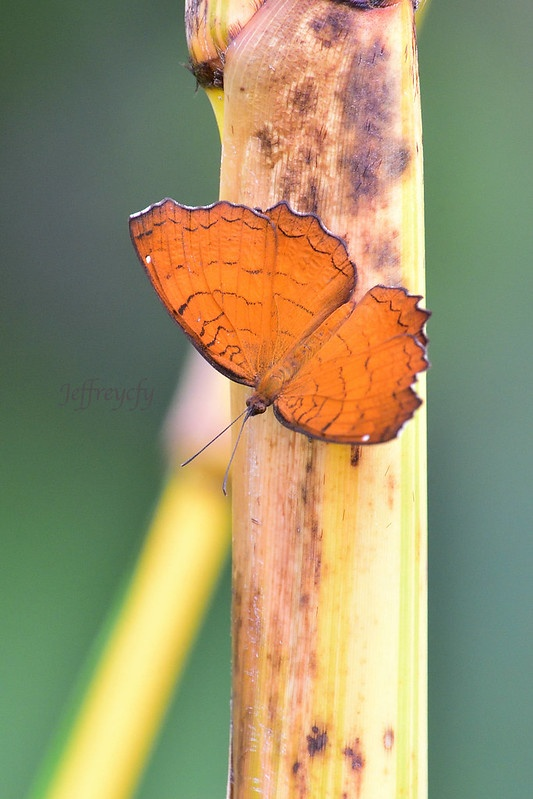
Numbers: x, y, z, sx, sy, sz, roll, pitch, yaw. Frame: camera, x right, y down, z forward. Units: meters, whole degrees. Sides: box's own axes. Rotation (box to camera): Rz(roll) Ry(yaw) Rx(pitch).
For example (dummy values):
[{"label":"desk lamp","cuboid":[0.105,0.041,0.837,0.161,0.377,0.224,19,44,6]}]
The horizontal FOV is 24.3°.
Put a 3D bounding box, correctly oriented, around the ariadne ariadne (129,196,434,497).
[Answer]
[{"label":"ariadne ariadne","cuboid":[0.015,-0.024,0.848,0.069,0.211,0.167,4,-61,-51]}]
